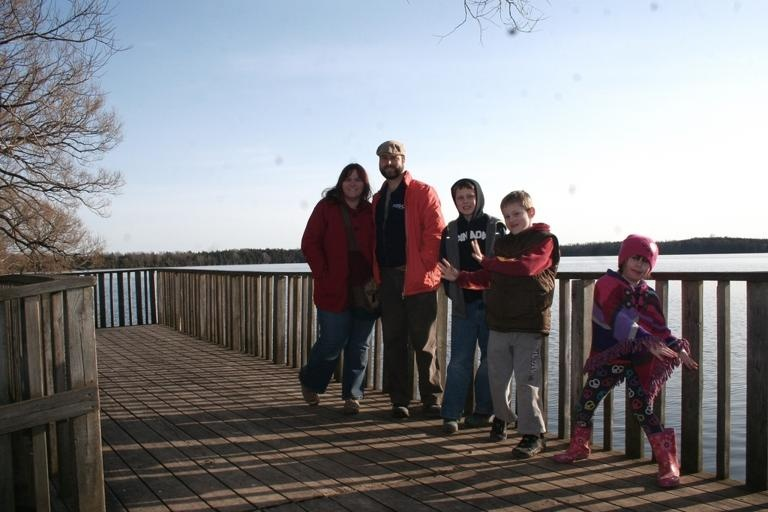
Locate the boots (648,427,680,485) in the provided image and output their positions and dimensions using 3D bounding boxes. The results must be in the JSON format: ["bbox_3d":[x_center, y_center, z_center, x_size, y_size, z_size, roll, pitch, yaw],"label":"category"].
[{"bbox_3d":[2.339,1.663,4.987,0.253,0.437,0.361,3,6,26],"label":"boots"}]

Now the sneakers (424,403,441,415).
[{"bbox_3d":[0.483,1.605,6.182,0.210,0.151,0.078,-4,-2,14],"label":"sneakers"}]

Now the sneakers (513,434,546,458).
[{"bbox_3d":[1.298,1.717,5.332,0.138,0.136,0.334,-7,-12,42],"label":"sneakers"}]

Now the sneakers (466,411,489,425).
[{"bbox_3d":[0.935,1.644,5.992,0.261,0.110,0.102,2,2,-17],"label":"sneakers"}]

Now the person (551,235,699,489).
[{"bbox_3d":[2.097,0.848,5.078,0.961,2.024,0.441,3,6,27],"label":"person"}]

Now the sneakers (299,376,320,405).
[{"bbox_3d":[-0.808,1.533,6.548,0.136,0.368,0.100,-9,20,3],"label":"sneakers"}]

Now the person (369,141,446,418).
[{"bbox_3d":[0.254,0.246,6.150,0.715,2.803,0.417,0,6,-1],"label":"person"}]

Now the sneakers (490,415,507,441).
[{"bbox_3d":[1.084,1.657,5.646,0.101,0.121,0.302,3,6,6],"label":"sneakers"}]

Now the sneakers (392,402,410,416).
[{"bbox_3d":[0.174,1.606,6.118,0.175,0.127,0.113,-2,6,-16],"label":"sneakers"}]

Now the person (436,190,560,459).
[{"bbox_3d":[1.225,0.594,5.461,0.576,2.355,0.555,5,8,43],"label":"person"}]

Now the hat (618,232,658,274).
[{"bbox_3d":[2.155,-0.013,5.099,0.296,0.306,0.328,13,1,8],"label":"hat"}]
